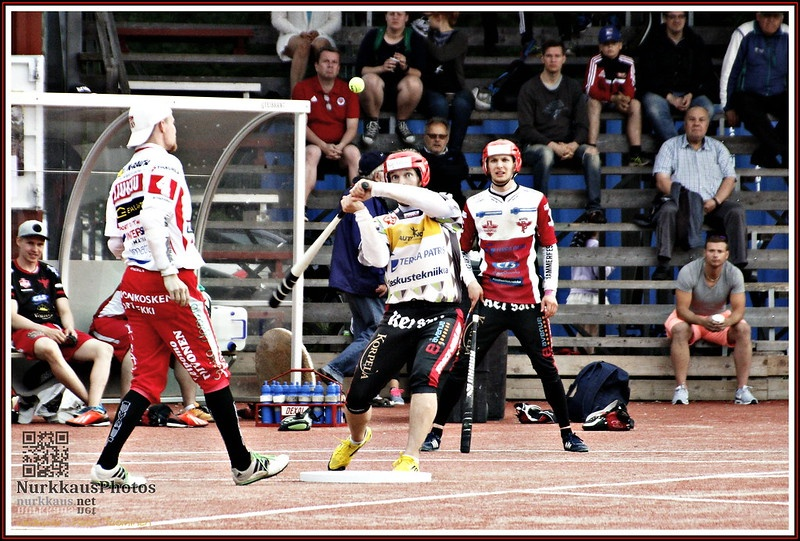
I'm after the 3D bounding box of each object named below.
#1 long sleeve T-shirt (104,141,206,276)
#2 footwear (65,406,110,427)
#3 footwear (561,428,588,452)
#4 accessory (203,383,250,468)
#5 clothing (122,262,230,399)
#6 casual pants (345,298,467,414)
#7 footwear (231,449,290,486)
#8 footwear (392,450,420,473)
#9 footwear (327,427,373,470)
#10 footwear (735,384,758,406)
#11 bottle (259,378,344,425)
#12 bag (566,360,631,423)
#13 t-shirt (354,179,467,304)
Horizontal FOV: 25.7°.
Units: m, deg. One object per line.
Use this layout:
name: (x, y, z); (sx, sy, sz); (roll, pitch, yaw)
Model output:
long sleeve T-shirt: (-2.648, -0.653, 18.618); (1.034, 1.409, 1.774); (-3, 5, -37)
footwear: (-3.621, 1.714, 20.605); (0.594, 0.227, 0.206); (1, -7, -7)
footwear: (1.928, 1.901, 19.471); (0.153, 0.163, 0.402); (-1, -5, -21)
accessory: (-1.718, 1.589, 17.728); (0.503, 0.800, 0.252); (14, 18, 41)
clothing: (-2.285, 0.647, 17.923); (1.124, 1.255, 0.748); (0, 9, 28)
casual pants: (0.098, 0.908, 19.061); (1.198, 1.308, 0.840); (19, -13, 9)
footwear: (-1.387, 1.960, 17.838); (0.688, 0.264, 0.254); (-14, 17, -17)
footwear: (0.070, 1.967, 17.964); (0.266, 0.227, 0.414); (2, 12, 1)
footwear: (-0.517, 1.913, 18.714); (0.166, 0.490, 0.220); (48, 7, 16)
footwear: (4.608, 1.665, 23.249); (0.174, 0.153, 0.366); (0, -9, -2)
bottle: (-1.170, 1.561, 20.930); (1.109, 0.482, 0.531); (0, -5, 1)
bag: (2.412, 1.497, 21.300); (0.559, 0.615, 0.558); (32, 2, -15)
t-shirt: (0.188, -0.152, 18.345); (1.168, 1.384, 0.911); (-8, -21, 14)
